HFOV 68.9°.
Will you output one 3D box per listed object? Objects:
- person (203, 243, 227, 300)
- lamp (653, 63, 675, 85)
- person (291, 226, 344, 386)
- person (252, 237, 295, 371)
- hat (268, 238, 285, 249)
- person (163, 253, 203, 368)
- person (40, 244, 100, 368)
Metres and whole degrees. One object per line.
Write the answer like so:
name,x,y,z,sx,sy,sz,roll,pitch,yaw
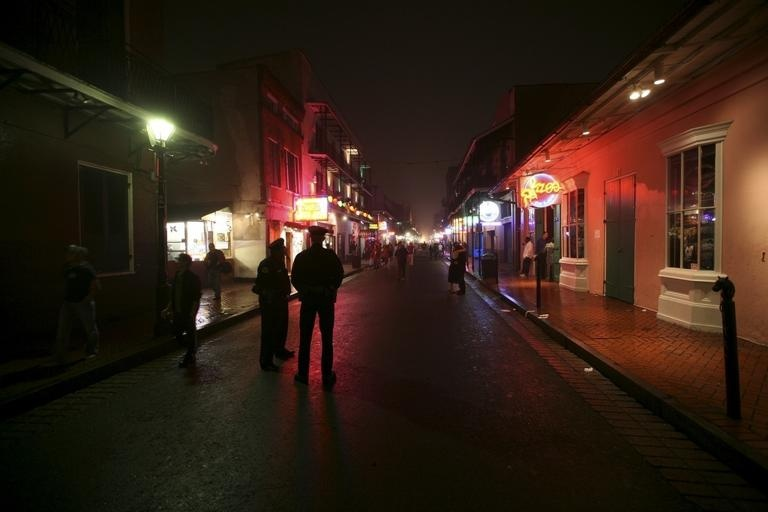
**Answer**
person,-5.281,0.477,17.660,0.557,1.699,1.055,-5,8,-29
lamp,5.730,-3.694,11.437,0.364,0.456,0.390,-2,4,32
person,-1.235,0.905,10.235,0.913,2.782,0.745,0,7,10
person,-2.226,0.918,11.083,0.613,2.453,0.948,0,7,12
hat,-2.083,-0.196,11.235,0.255,0.122,0.305,1,24,28
person,-4.024,1.050,11.399,0.575,2.183,0.804,-4,7,-24
person,-6.227,0.931,11.265,0.845,2.178,0.572,-4,7,-24
